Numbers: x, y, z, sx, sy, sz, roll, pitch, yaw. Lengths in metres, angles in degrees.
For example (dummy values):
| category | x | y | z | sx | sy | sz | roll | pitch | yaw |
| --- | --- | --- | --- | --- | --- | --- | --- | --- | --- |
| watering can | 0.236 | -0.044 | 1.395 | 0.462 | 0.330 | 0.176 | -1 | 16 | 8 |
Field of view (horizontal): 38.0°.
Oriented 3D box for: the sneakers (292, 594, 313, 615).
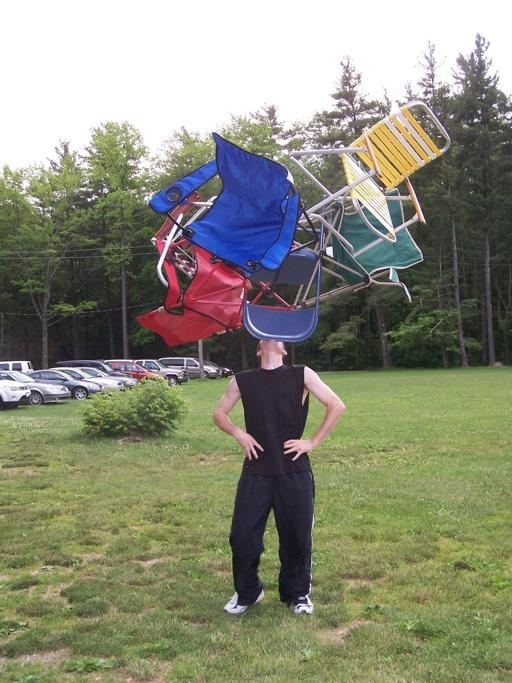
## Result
| category | x | y | z | sx | sy | sz | roll | pitch | yaw |
| --- | --- | --- | --- | --- | --- | --- | --- | --- | --- |
| sneakers | 0.329 | 1.847 | 5.186 | 0.150 | 0.085 | 0.172 | -2 | -2 | 2 |

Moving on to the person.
| category | x | y | z | sx | sy | sz | roll | pitch | yaw |
| --- | --- | --- | --- | --- | --- | --- | --- | --- | --- |
| person | 0.162 | 0.950 | 5.285 | 0.887 | 1.909 | 0.356 | -2 | -2 | -4 |

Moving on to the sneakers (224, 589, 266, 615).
| category | x | y | z | sx | sy | sz | roll | pitch | yaw |
| --- | --- | --- | --- | --- | --- | --- | --- | --- | --- |
| sneakers | -0.072 | 1.857 | 5.292 | 0.103 | 0.110 | 0.312 | -2 | -2 | 43 |
